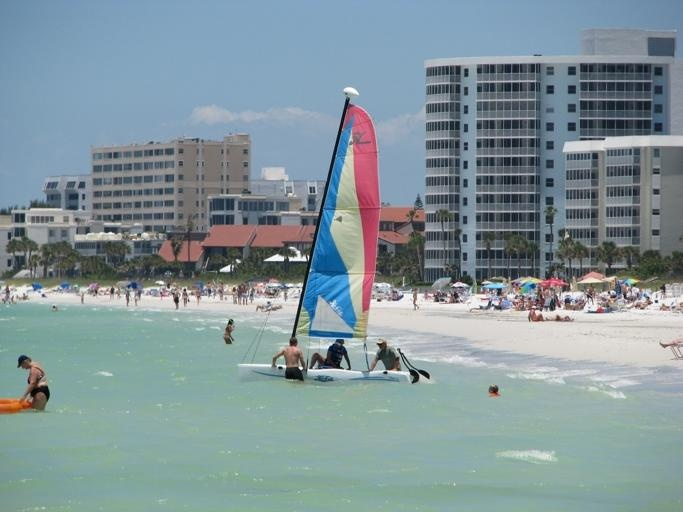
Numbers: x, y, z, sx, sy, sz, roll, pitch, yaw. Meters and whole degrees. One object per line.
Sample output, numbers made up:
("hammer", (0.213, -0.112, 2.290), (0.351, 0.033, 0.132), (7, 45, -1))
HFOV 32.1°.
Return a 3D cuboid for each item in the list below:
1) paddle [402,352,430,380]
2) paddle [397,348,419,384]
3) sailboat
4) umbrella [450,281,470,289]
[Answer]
("paddle", (3.710, 5.894, 61.469), (0.351, 2.555, 0.867), (10, 48, 35))
("paddle", (3.454, 5.907, 60.941), (0.335, 2.442, 0.780), (10, 45, 42))
("sailboat", (-0.137, -0.807, 59.005), (5.543, 14.709, 1.660), (-1, 10, 0))
("umbrella", (11.372, 3.002, 116.299), (1.461, 0.558, 1.502), (0, 1, 9))
